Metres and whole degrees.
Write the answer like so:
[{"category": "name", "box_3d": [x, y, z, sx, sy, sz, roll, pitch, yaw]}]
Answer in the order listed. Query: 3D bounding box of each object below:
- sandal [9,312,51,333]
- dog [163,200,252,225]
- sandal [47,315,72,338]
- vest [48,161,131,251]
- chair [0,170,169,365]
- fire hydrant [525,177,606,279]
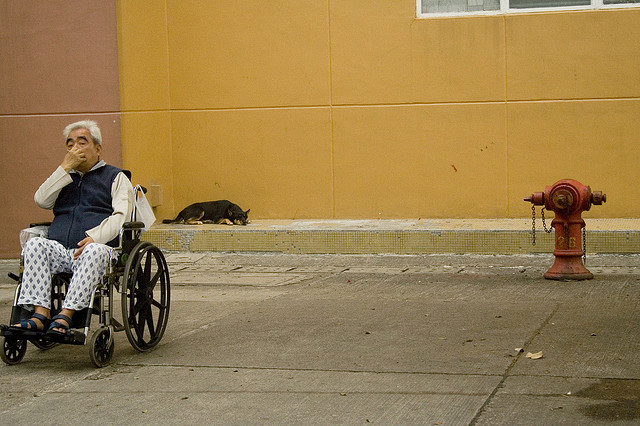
[{"category": "sandal", "box_3d": [-2.789, 1.085, 8.438, 0.441, 0.175, 0.135, 16, -5, -34]}, {"category": "dog", "box_3d": [-1.875, 0.019, 14.929, 1.807, 0.611, 0.697, 0, -4, 0]}, {"category": "sandal", "box_3d": [-2.541, 1.098, 8.395, 0.180, 0.181, 0.227, -1, 10, -3]}, {"category": "vest", "box_3d": [-2.449, -0.013, 9.189, 1.034, 1.041, 0.609, -9, -23, 14]}, {"category": "chair", "box_3d": [-2.568, 0.756, 9.447, 1.508, 2.079, 2.158, -2, -6, 13]}, {"category": "fire hydrant", "box_3d": [3.233, 0.230, 11.267, 0.881, 1.287, 0.327, 2, 11, 17]}]
